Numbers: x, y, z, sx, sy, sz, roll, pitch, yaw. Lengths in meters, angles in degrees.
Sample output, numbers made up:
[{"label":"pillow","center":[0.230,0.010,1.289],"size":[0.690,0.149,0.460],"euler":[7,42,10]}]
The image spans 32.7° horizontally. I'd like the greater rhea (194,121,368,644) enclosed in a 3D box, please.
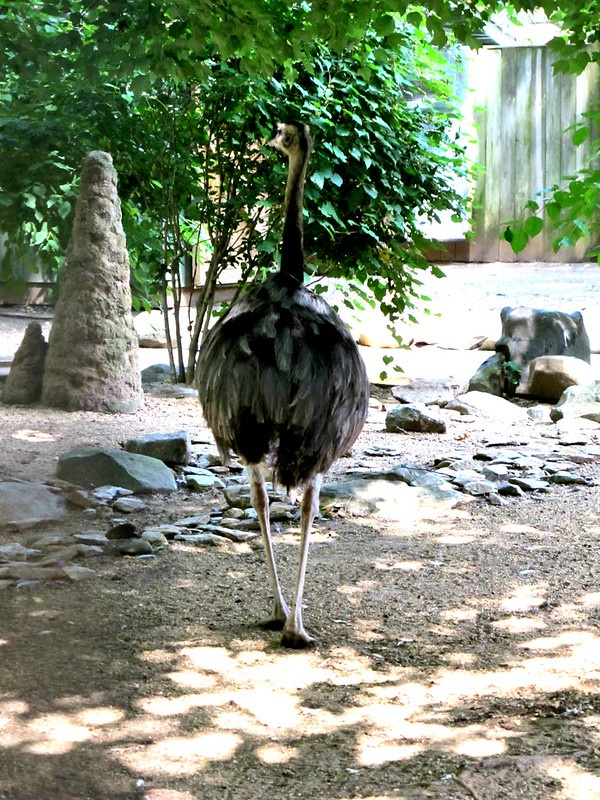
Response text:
[{"label":"greater rhea","center":[-0.085,0.057,4.174],"size":[0.677,1.583,1.126],"euler":[2,14,-10]}]
